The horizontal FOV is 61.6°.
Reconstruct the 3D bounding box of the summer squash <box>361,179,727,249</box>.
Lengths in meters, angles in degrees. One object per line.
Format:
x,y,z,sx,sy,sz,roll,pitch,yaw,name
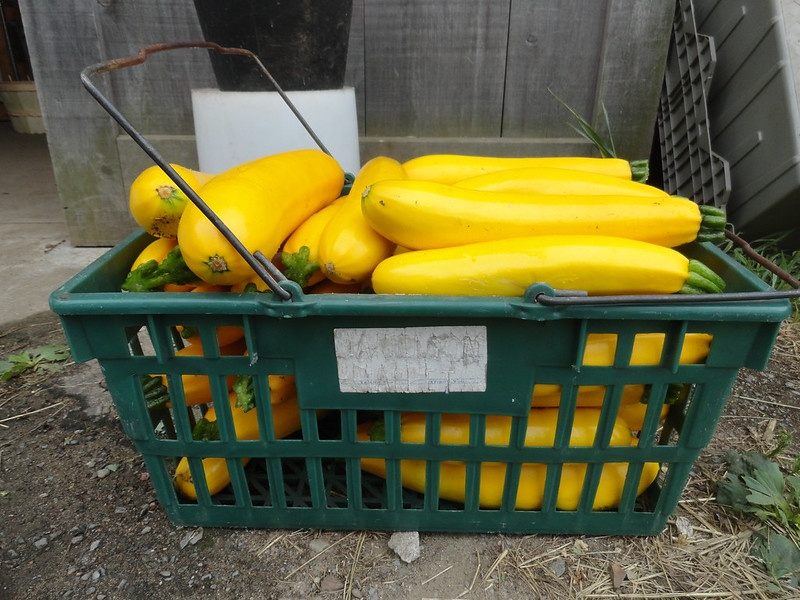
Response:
0.388,-0.246,1.958,1.013,0.165,0.167,2,36,2,summer squash

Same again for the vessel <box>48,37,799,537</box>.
0.019,-0.037,2.396,2.703,1.286,1.274,0,32,1,vessel

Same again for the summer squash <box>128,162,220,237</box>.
-0.720,-0.317,2.113,0.180,0.136,0.332,30,14,-13,summer squash

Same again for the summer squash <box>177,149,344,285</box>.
-0.435,-0.274,2.076,0.276,0.219,0.564,40,38,2,summer squash
